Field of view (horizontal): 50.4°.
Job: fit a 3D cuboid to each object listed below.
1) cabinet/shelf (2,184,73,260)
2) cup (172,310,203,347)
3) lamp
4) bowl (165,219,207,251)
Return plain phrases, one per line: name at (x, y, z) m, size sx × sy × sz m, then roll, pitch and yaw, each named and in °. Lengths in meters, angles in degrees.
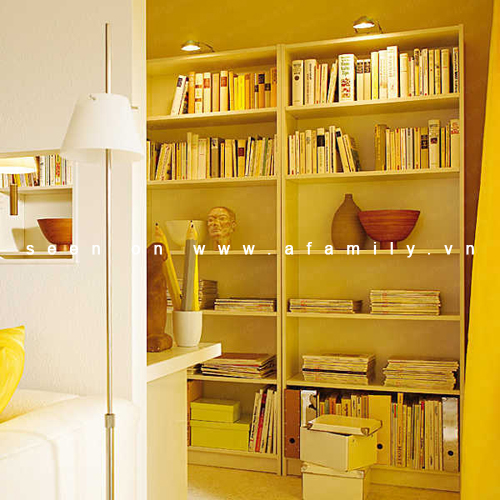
cabinet/shelf at (-0.860, -0.121, 2.161) m, size 0.269 × 0.304 × 0.156 m, roll 0°, pitch -2°, yaw 21°
cup at (-0.215, 0.276, 1.933) m, size 0.112 × 0.139 × 0.116 m, roll 0°, pitch 2°, yaw 0°
lamp at (-0.395, 0.115, 1.400) m, size 0.196 × 1.134 × 0.397 m, roll 2°, pitch -2°, yaw -18°
bowl at (-0.422, -0.120, 3.446) m, size 0.227 × 0.196 × 0.240 m, roll 0°, pitch -2°, yaw 0°
